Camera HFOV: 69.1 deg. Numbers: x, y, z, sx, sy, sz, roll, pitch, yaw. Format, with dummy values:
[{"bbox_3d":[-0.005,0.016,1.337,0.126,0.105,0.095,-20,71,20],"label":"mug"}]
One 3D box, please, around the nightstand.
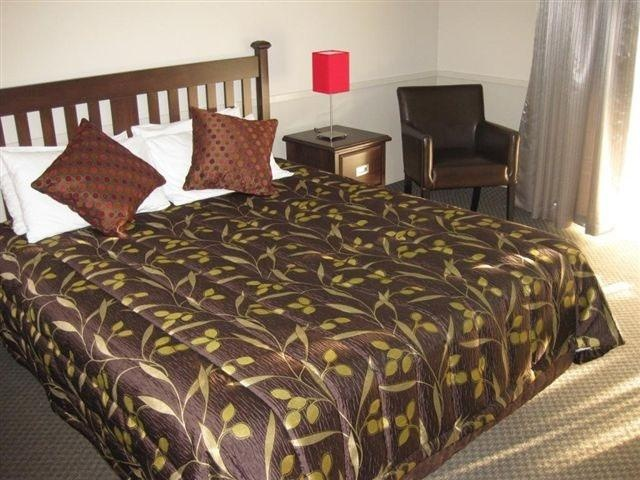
[{"bbox_3d":[0.142,-0.809,3.945,0.623,0.605,0.635,23,35,36],"label":"nightstand"}]
